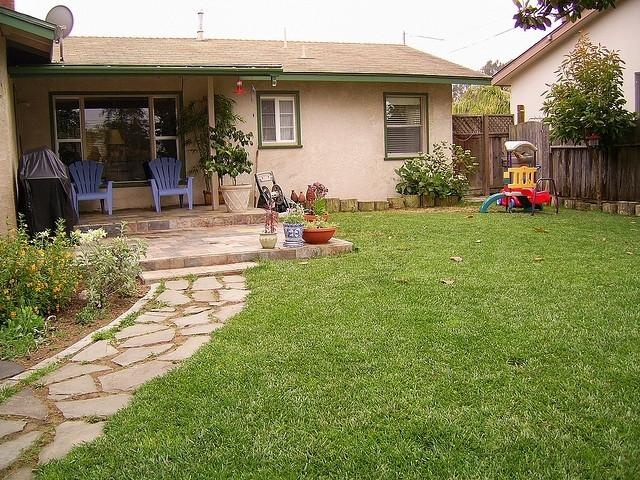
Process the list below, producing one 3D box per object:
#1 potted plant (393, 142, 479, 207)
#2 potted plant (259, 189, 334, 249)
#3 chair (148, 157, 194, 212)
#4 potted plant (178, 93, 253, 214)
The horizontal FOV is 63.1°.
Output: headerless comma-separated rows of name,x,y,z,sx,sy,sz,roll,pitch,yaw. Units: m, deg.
potted plant,3.240,-1.876,14.339,2.356,1.603,1.268,-12,15,-36
potted plant,-0.430,-0.217,8.414,1.072,0.834,0.883,0,3,-40
chair,-3.464,-1.301,12.052,0.835,1.201,1.583,-6,13,-18
potted plant,-2.390,-2.289,12.137,1.503,2.217,2.122,-7,13,-21
